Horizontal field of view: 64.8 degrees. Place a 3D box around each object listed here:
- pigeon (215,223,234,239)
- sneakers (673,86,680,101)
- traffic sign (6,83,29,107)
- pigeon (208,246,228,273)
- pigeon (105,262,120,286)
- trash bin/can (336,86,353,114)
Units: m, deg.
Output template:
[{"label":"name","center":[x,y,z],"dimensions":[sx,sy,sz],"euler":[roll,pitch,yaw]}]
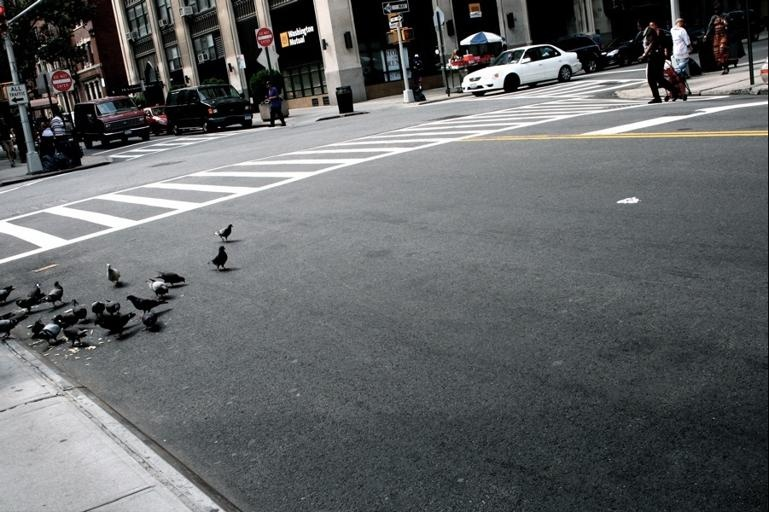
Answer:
[{"label":"pigeon","center":[-2.649,-0.424,10.262],"dimensions":[0.417,0.312,0.208],"euler":[-2,9,33]},{"label":"sneakers","center":[9.025,-5.070,18.774],"dimensions":[0.256,0.376,0.111],"euler":[-15,4,-24]},{"label":"traffic sign","center":[-15.189,-6.770,25.209],"dimensions":[0.729,0.868,0.903],"euler":[7,22,39]},{"label":"pigeon","center":[-2.416,0.011,8.963],"dimensions":[0.226,0.403,0.586],"euler":[-12,18,-15]},{"label":"pigeon","center":[-3.986,0.254,8.910],"dimensions":[0.174,0.292,0.452],"euler":[-12,21,-12]},{"label":"trash bin/can","center":[-2.184,-9.000,34.748],"dimensions":[0.806,1.403,1.194],"euler":[-9,17,-6]}]
